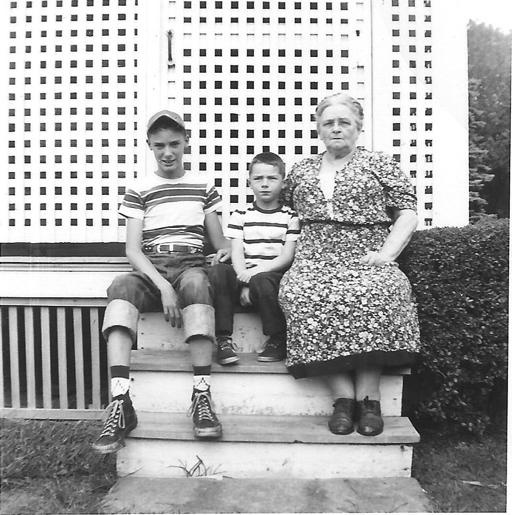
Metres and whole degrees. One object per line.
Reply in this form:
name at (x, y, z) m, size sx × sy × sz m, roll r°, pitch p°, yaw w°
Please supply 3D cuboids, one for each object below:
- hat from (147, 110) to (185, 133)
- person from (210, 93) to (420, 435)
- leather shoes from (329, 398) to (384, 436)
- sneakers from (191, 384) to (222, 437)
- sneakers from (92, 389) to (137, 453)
hat at (-0.489, -0.735, 4.074) m, size 0.211 × 0.116 × 0.253 m, roll -2°, pitch 1°, yaw -6°
person at (0.470, -0.021, 3.752) m, size 0.707 × 1.626 × 0.804 m, roll -1°, pitch 8°, yaw 6°
leather shoes at (0.473, 0.762, 3.523) m, size 0.185 × 0.079 × 0.234 m, roll 0°, pitch 1°, yaw 10°
sneakers at (-0.243, 0.738, 3.516) m, size 0.131 × 0.195 × 0.168 m, roll -3°, pitch 8°, yaw -6°
sneakers at (-0.663, 0.772, 3.451) m, size 0.148 × 0.229 × 0.271 m, roll 0°, pitch 8°, yaw 10°
